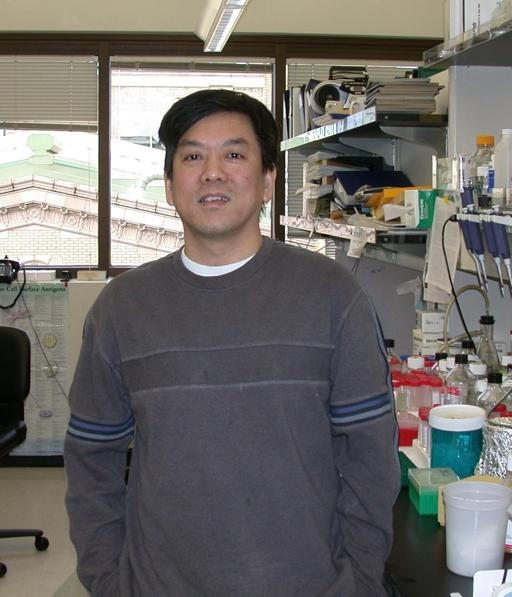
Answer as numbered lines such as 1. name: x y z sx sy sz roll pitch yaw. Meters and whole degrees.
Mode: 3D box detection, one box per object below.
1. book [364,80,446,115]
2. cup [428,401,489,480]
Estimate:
1. book: 0.504 -0.668 1.918 0.171 0.063 0.199 -1 8 3
2. cup: 0.440 0.311 1.256 0.116 0.133 0.119 -4 6 0
